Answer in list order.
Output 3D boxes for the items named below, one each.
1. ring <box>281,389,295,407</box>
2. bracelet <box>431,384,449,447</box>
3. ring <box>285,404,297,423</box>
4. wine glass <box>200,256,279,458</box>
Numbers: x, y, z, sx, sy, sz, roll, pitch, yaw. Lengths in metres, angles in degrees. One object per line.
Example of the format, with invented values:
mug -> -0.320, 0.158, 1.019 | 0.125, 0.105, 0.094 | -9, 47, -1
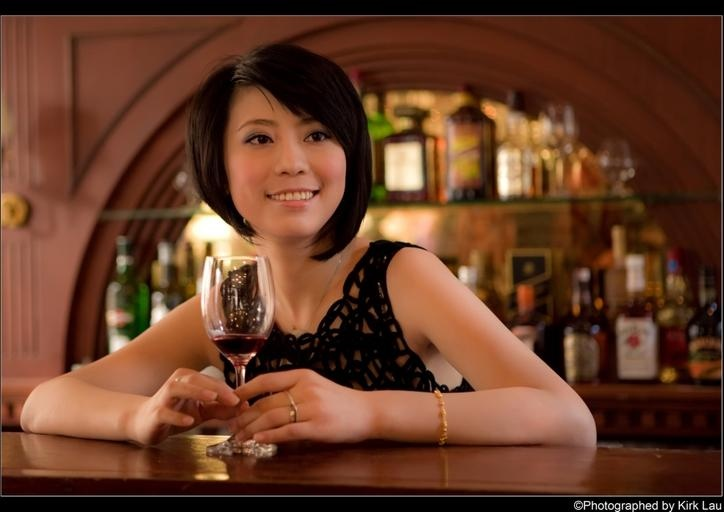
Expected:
ring -> -0.152, 0.293, 1.536 | 0.011, 0.028, 0.025 | -23, -17, -6
bracelet -> 0.164, 0.340, 1.564 | 0.022, 0.080, 0.060 | -5, -1, 0
ring -> -0.139, 0.323, 1.524 | 0.019, 0.030, 0.033 | 1, -6, -2
wine glass -> -0.263, 0.139, 1.593 | 0.155, 0.275, 0.101 | -2, -6, 2
